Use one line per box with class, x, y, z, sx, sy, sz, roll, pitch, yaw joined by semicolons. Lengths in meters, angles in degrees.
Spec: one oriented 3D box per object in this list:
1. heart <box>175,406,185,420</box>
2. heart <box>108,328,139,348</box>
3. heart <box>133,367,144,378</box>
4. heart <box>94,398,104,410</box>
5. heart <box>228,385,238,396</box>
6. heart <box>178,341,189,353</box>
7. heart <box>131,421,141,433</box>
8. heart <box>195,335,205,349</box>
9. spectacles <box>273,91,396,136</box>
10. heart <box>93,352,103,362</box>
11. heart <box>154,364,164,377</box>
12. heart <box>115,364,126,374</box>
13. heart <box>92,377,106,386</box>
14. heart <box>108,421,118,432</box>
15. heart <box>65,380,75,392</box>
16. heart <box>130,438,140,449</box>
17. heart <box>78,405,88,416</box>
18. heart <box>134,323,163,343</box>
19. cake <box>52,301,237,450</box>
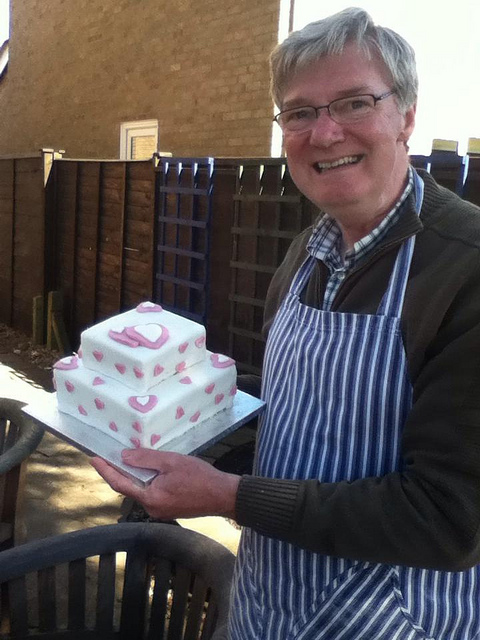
heart;-0.185;0.285;1.764;0.010;0.033;0.038;20;27;31
heart;-0.367;0.059;1.805;0.089;0.019;0.045;24;30;25
heart;-0.308;0.162;1.739;0.011;0.022;0.039;-13;49;-46
heart;-0.430;0.257;1.763;0.011;0.025;0.036;-2;51;-51
heart;-0.025;0.248;1.996;0.037;0.034;0.029;-12;5;-38
heart;-0.180;0.089;1.850;0.009;0.022;0.036;-27;16;19
heart;-0.298;0.306;1.657;0.002;0.032;0.043;-15;11;-42
heart;-0.133;0.077;1.941;0.015;0.038;0.033;3;-15;29
spectacles;0.207;-0.490;1.397;0.315;0.071;0.089;-1;9;33
heart;-0.457;0.121;1.861;0.036;0.033;0.006;9;27;41
heart;-0.248;0.158;1.775;0.008;0.030;0.033;23;24;30
heart;-0.368;0.151;1.791;0.039;0.028;0.010;18;33;33
heart;-0.443;0.195;1.809;0.038;0.018;0.041;-6;7;-4
heart;-0.385;0.325;1.754;0.032;0.031;0.009;-43;-4;41
heart;-0.549;0.216;1.856;0.008;0.035;0.036;-25;-15;-37
heart;-0.306;0.359;1.677;0.007;0.026;0.029;-17;24;-40
heart;-0.499;0.295;1.848;0.014;0.028;0.057;34;13;-41
heart;-0.280;0.044;1.816;0.083;0.042;0.117;-9;8;-20
cake;-0.349;0.163;1.878;0.475;0.269;0.466;17;26;35
